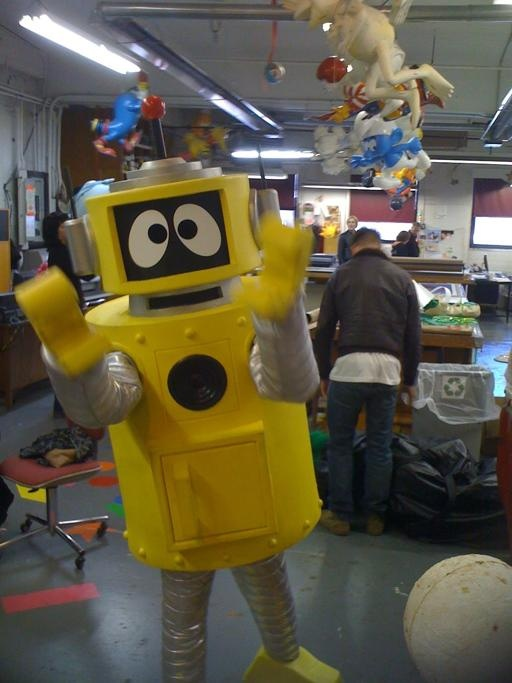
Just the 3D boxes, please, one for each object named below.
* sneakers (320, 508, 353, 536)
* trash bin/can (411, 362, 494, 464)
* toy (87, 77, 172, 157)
[{"bbox_3d":[0.391,0.900,2.717,0.165,0.059,0.089,24,44,18],"label":"sneakers"},{"bbox_3d":[1.155,0.405,3.401,0.543,0.560,0.597,1,10,12],"label":"trash bin/can"},{"bbox_3d":[-0.278,-0.499,1.197,0.149,0.179,0.142,3,20,-24],"label":"toy"}]
